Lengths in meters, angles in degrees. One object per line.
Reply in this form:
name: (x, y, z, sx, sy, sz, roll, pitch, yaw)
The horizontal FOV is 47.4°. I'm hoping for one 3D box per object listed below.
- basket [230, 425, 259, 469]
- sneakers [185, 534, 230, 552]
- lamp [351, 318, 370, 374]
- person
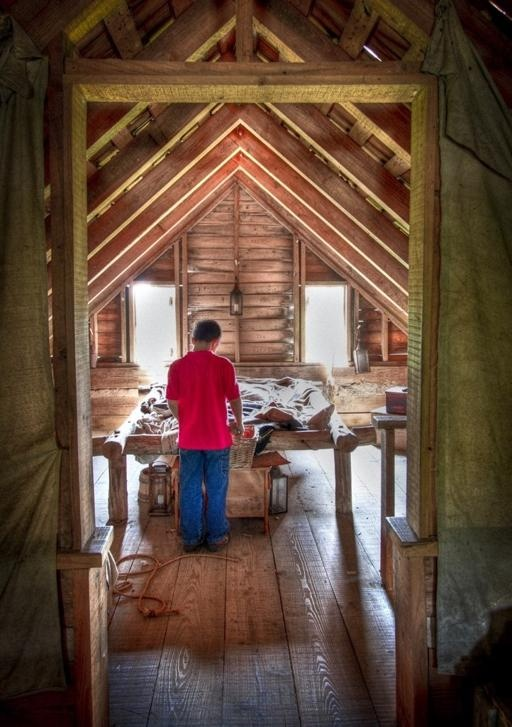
basket: (-0.061, 0.477, 3.300, 0.147, 0.152, 0.217, 2, 9, 3)
sneakers: (-0.265, 1.008, 3.264, 0.250, 0.115, 0.088, -8, 1, -3)
lamp: (1.152, -0.172, 6.301, 0.183, 0.582, 0.278, 2, 6, 11)
person: (-0.278, 0.408, 3.158, 0.413, 1.267, 0.341, 0, 6, -1)
